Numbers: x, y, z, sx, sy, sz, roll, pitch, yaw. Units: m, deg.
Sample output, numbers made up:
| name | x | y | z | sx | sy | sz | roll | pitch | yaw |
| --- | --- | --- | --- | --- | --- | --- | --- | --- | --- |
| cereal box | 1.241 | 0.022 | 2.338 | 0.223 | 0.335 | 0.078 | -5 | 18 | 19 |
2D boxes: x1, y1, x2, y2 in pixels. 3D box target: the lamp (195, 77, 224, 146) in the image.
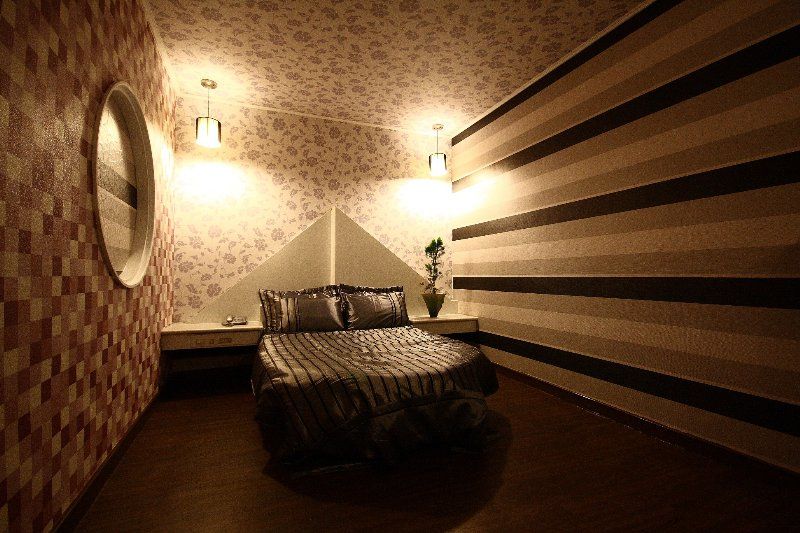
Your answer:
| name | x | y | z | sx | sy | sz | roll | pitch | yaw |
| --- | --- | --- | --- | --- | --- | --- | --- | --- | --- |
| lamp | -1.946 | -1.557 | 4.923 | 0.268 | 0.660 | 0.263 | 5 | -14 | -34 |

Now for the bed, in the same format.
| name | x | y | z | sx | sy | sz | roll | pitch | yaw |
| --- | --- | --- | --- | --- | --- | --- | --- | --- | --- |
| bed | -0.204 | 1.017 | 3.974 | 1.898 | 0.636 | 1.442 | -5 | 11 | -18 |

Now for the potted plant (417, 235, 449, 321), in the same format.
| name | x | y | z | sx | sy | sz | roll | pitch | yaw |
| --- | --- | --- | --- | --- | --- | --- | --- | --- | --- |
| potted plant | 0.418 | 0.121 | 5.937 | 0.304 | 0.937 | 0.765 | 0 | 11 | 5 |

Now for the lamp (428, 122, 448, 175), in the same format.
| name | x | y | z | sx | sy | sz | roll | pitch | yaw |
| --- | --- | --- | --- | --- | --- | --- | --- | --- | --- |
| lamp | 0.458 | -1.409 | 5.888 | 0.257 | 0.612 | 0.282 | 1 | -2 | -34 |
